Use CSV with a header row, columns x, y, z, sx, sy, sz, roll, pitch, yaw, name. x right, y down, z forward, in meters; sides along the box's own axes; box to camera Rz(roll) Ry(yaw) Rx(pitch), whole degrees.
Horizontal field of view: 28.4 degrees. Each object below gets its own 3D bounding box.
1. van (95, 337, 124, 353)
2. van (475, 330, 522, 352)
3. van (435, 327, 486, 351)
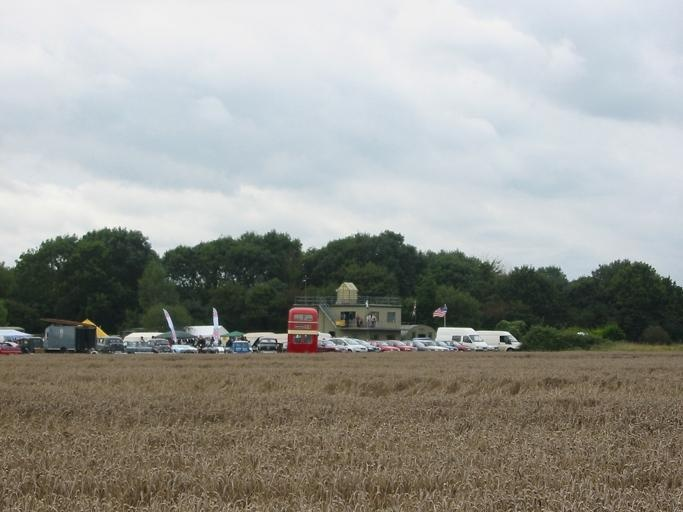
x,y,z,sx,sy,sz,roll,pitch,yaw,name
-22.728,8.773,133.134,2.412,1.325,1.547,3,-2,38,van
15.407,8.182,131.887,3.686,2.030,1.737,-2,-1,30,van
11.718,8.218,135.473,1.937,2.513,4.661,0,-4,-40,van
